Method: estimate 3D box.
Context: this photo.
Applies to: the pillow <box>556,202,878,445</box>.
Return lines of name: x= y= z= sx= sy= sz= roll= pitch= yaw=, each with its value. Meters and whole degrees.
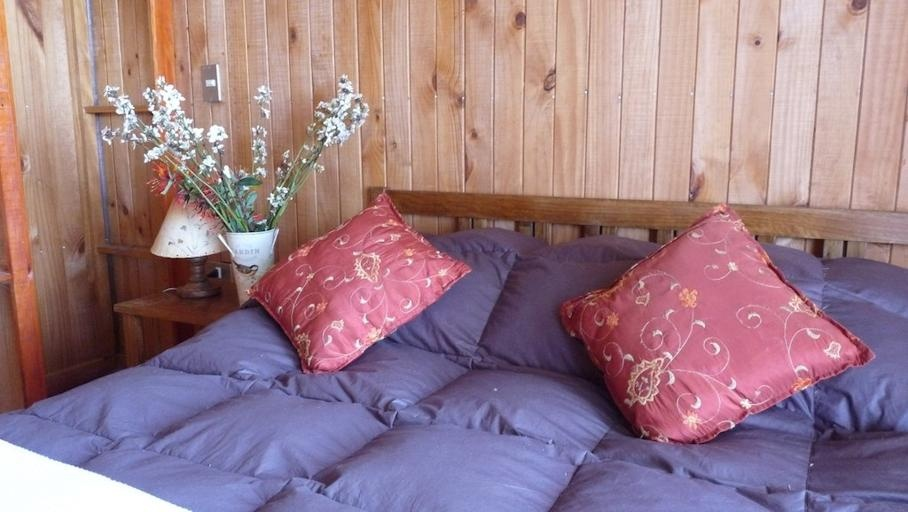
pillow: x=0.898 y=0.292 z=2.212 sx=0.827 sy=0.247 sz=0.793 roll=-33 pitch=52 yaw=-5

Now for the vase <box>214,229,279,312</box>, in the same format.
vase: x=-1.017 y=0.043 z=3.138 sx=0.288 sy=0.325 sz=0.267 roll=0 pitch=3 yaw=16

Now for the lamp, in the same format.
lamp: x=-1.390 y=-0.062 z=3.338 sx=0.402 sy=0.499 sz=0.406 roll=3 pitch=8 yaw=34
